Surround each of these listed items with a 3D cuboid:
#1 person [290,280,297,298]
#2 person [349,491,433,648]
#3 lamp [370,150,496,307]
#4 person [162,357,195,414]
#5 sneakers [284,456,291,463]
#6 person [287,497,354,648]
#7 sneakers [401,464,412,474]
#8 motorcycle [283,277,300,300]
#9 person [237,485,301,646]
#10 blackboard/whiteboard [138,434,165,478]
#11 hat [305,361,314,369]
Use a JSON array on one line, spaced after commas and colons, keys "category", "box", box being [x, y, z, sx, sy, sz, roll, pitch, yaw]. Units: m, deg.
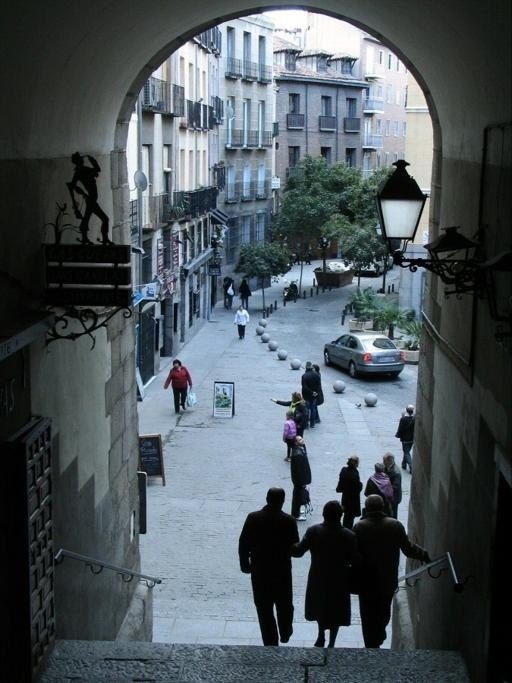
[{"category": "person", "box": [2.556, -3.563, 44.736, 0.387, 0.649, 0.929, 2, 32, 11]}, {"category": "person", "box": [1.121, 2.044, 6.088, 0.773, 1.617, 0.374, 0, 20, 7]}, {"category": "lamp", "box": [1.272, -0.841, 5.244, 0.767, 1.386, 0.472, -9, -24, 24]}, {"category": "person", "box": [-2.321, 1.323, 20.151, 0.763, 1.635, 1.045, -1, 6, -8]}, {"category": "sneakers", "box": [0.742, 2.823, 15.973, 0.141, 0.136, 0.060, 2, 3, 16]}, {"category": "person", "box": [0.583, 1.934, 5.744, 0.485, 1.206, 0.273, 1, 6, 4]}, {"category": "sneakers", "box": [3.526, 3.018, 15.936, 0.144, 0.152, 0.485, -2, 8, -19]}, {"category": "motorcycle", "box": [2.300, -3.478, 45.244, 0.706, 1.245, 1.709, 3, 21, 12]}, {"category": "person", "box": [0.119, 2.022, 6.162, 0.490, 1.794, 0.472, 1, 23, 7]}, {"category": "blackboard/whiteboard", "box": [-2.208, 2.459, 14.248, 0.492, 1.051, 0.506, -1, 6, -12]}, {"category": "hat", "box": [1.433, 0.678, 18.485, 0.159, 0.230, 0.175, 0, 23, 17]}]
